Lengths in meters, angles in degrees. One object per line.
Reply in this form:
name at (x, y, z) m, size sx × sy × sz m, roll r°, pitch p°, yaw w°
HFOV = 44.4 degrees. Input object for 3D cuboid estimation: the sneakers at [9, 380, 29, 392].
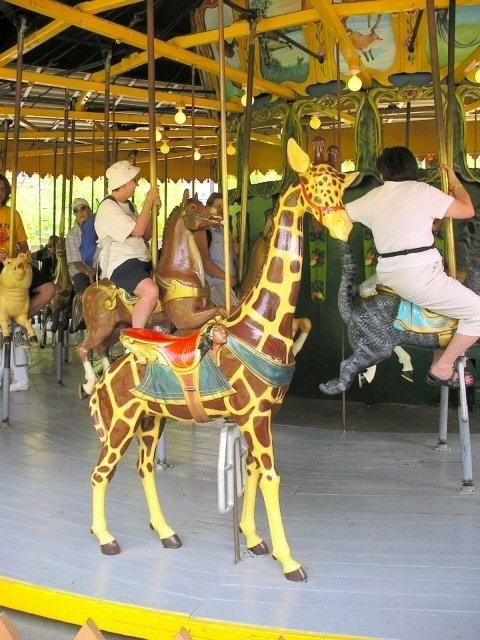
sneakers at (-2.655, 0.795, 7.068) m, size 0.214 × 0.174 × 0.102 m, roll 3°, pitch 0°, yaw 8°

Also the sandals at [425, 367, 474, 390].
sandals at (1.296, 0.356, 3.606) m, size 0.235 × 0.071 × 0.132 m, roll -2°, pitch 3°, yaw 2°

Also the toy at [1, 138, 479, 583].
toy at (-0.097, 0.180, 2.612) m, size 1.181 × 1.722 × 0.444 m, roll -1°, pitch -1°, yaw 28°
